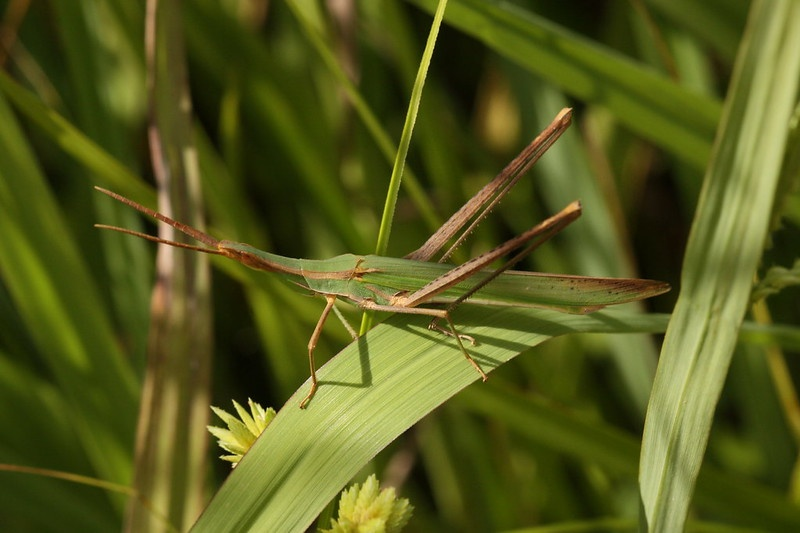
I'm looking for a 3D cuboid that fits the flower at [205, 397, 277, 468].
[{"bbox_3d":[-0.577,0.559,3.377,0.145,0.293,0.264,40,-85,-21],"label":"flower"}]
